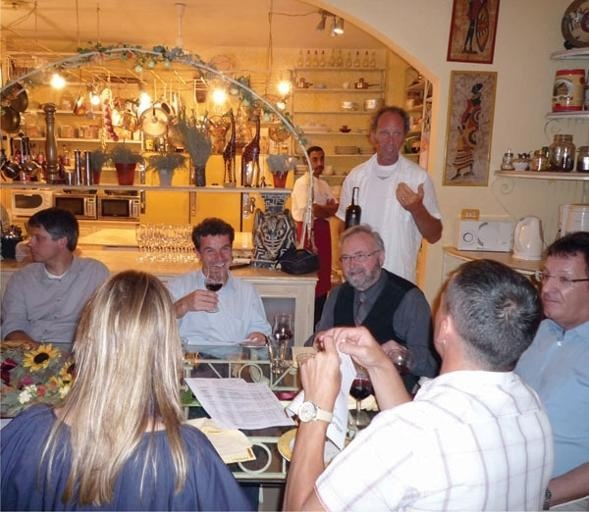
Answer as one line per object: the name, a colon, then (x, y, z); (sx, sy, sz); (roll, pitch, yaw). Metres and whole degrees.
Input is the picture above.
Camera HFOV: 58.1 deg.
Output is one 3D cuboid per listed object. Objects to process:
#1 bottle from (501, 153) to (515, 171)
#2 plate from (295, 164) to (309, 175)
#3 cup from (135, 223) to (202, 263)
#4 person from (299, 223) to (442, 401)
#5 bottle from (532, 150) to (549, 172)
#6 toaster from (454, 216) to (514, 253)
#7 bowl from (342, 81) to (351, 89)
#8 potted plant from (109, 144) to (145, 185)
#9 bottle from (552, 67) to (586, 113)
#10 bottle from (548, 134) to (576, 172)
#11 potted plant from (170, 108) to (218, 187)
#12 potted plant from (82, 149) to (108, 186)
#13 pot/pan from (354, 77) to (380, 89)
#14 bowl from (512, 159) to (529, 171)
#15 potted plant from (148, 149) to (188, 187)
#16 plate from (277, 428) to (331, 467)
bottle: (1.748, -0.781, 4.343); (0.093, 0.141, 0.167); (4, 10, 20)
plate: (0.082, -1.149, 7.022); (0.239, 0.188, 0.246); (-1, 13, 0)
cup: (-1.050, -0.134, 4.230); (0.372, 0.243, 0.383); (-1, 5, 0)
person: (0.312, 0.231, 2.880); (0.657, 1.249, 0.723); (-2, 3, -44)
bottle: (1.949, -0.766, 4.217); (0.117, 0.169, 0.252); (4, 10, 19)
toaster: (1.570, -0.168, 4.338); (0.421, 0.288, 0.261); (0, 9, 1)
bowl: (0.712, -2.386, 7.343); (0.104, 0.129, 0.214); (1, 9, 4)
potted plant: (-1.187, -0.670, 3.913); (0.259, 0.318, 0.265); (5, 8, 28)
bottle: (2.115, -1.282, 4.084); (0.219, 0.334, 0.137); (6, 11, 27)
bottle: (2.049, -0.790, 4.060); (0.164, 0.277, 0.199); (4, 10, 21)
potted plant: (-0.723, -0.750, 3.748); (0.266, 0.506, 0.331); (-2, 10, -13)
potted plant: (-1.424, -0.623, 3.834); (0.238, 0.254, 0.245); (1, 2, -6)
pot/pan: (1.013, -2.390, 7.417); (0.395, 0.184, 0.155); (-5, 7, -39)
bowl: (1.798, -0.726, 4.218); (0.119, 0.091, 0.106); (6, 11, 27)
potted plant: (-0.930, -0.622, 3.843); (0.250, 0.229, 0.256); (0, 2, -14)
plate: (0.026, 0.577, 1.588); (0.126, 0.018, 0.130); (7, 11, 20)
